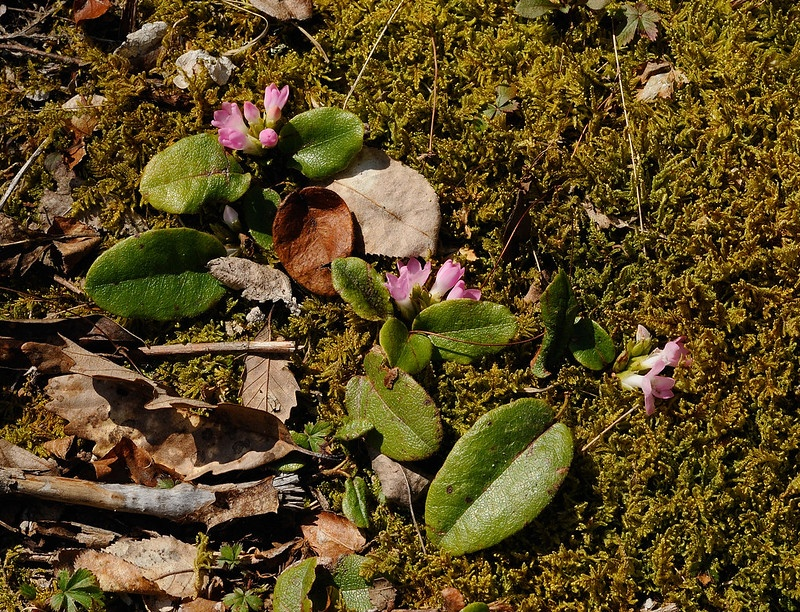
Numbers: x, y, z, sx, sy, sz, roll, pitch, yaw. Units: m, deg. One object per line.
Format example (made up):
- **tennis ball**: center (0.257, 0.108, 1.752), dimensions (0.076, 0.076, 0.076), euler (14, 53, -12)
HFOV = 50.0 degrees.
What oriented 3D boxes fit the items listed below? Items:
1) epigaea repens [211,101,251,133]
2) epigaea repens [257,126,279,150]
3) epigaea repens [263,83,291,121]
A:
- **epigaea repens**: center (-0.874, -0.948, 4.377), dimensions (0.171, 0.144, 0.120), euler (4, 55, -7)
- **epigaea repens**: center (-0.679, -0.855, 4.371), dimensions (0.087, 0.104, 0.111), euler (0, 20, 1)
- **epigaea repens**: center (-0.651, -1.054, 4.450), dimensions (0.125, 0.243, 0.198), euler (0, 55, -10)
